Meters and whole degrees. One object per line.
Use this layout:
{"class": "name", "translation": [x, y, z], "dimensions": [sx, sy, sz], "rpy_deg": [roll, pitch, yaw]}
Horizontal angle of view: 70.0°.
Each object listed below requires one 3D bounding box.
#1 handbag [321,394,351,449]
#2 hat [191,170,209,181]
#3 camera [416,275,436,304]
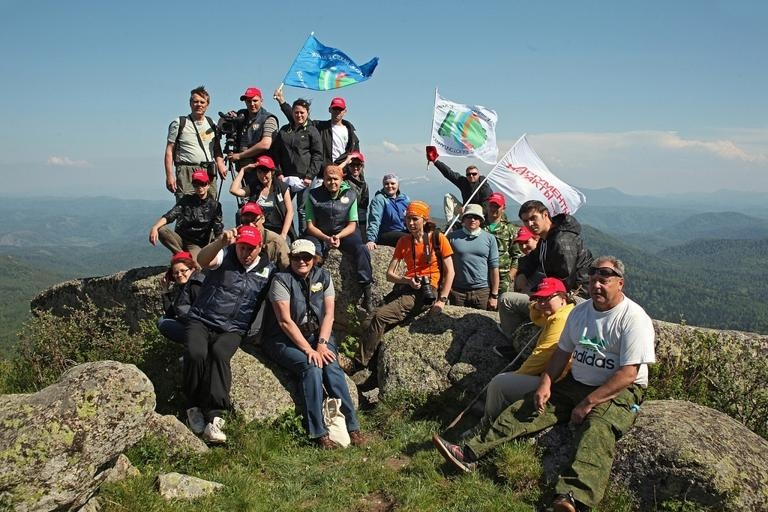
{"class": "handbag", "translation": [-1.137, 3.984, 13.031], "dimensions": [0.576, 1.064, 0.917], "rpy_deg": [-9, -14, -40]}
{"class": "hat", "translation": [-5.594, -2.415, 16.759], "dimensions": [0.406, 0.309, 0.420], "rpy_deg": [-4, 12, -34]}
{"class": "camera", "translation": [1.165, 0.921, 15.184], "dimensions": [0.447, 0.699, 0.345], "rpy_deg": [-5, -35, 1]}
